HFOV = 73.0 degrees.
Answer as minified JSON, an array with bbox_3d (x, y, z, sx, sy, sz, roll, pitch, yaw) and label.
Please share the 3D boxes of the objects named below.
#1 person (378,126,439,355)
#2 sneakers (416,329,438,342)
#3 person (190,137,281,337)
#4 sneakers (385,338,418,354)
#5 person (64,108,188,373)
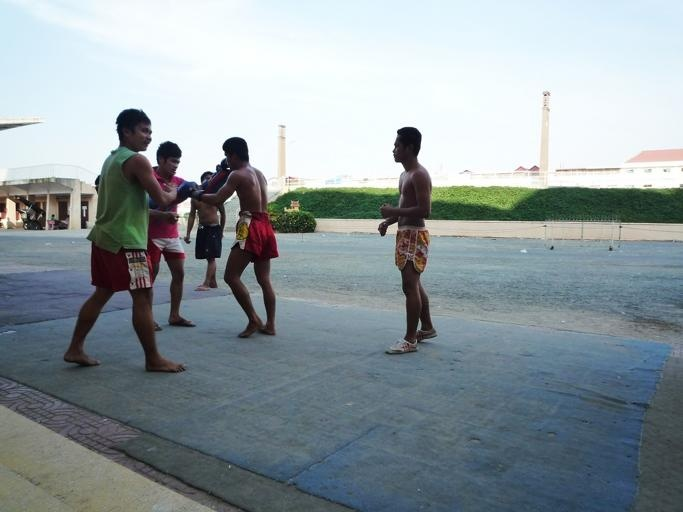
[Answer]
[{"bbox_3d":[0.692,-0.188,4.742,0.567,2.261,0.794,0,6,11],"label":"person"},{"bbox_3d":[0.901,0.848,4.959,0.300,0.122,0.106,-3,-12,-32],"label":"sneakers"},{"bbox_3d":[-1.069,-0.204,5.118,0.794,2.155,0.530,-4,7,-26],"label":"person"},{"bbox_3d":[0.590,0.889,4.554,0.271,0.093,0.133,2,-4,-18],"label":"sneakers"},{"bbox_3d":[-1.866,-0.146,3.910,0.911,2.218,0.797,-4,7,-30],"label":"person"}]
